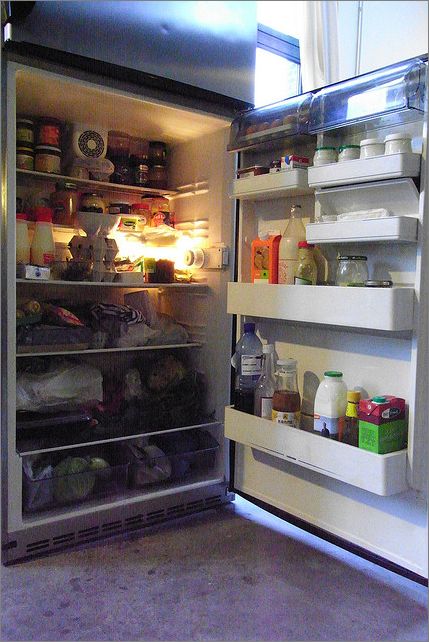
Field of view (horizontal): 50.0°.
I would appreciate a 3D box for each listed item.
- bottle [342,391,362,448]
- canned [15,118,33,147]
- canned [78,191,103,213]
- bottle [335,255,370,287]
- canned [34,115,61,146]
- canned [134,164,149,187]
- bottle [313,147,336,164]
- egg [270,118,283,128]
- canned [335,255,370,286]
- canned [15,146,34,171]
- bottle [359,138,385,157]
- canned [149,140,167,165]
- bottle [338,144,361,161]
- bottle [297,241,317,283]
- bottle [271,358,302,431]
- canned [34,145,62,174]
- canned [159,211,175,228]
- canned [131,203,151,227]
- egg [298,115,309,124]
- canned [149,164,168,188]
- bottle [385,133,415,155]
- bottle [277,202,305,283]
[{"bbox_3d":[0.316,0.220,1.058,0.033,0.141,0.038,7,20,26],"label":"bottle"},{"bbox_3d":[-0.569,-0.564,1.397,0.056,0.096,0.061,12,12,35],"label":"canned"},{"bbox_3d":[-0.428,-0.408,1.598,0.058,0.092,0.077,1,5,-1],"label":"canned"},{"bbox_3d":[0.327,-0.104,1.063,0.051,0.084,0.066,1,2,17],"label":"bottle"},{"bbox_3d":[-0.518,-0.589,1.437,0.064,0.114,0.074,5,5,30],"label":"canned"},{"bbox_3d":[-0.276,-0.548,1.730,0.040,0.087,0.066,5,10,12],"label":"canned"},{"bbox_3d":[0.270,-0.402,1.119,0.032,0.049,0.044,0,11,4],"label":"bottle"},{"bbox_3d":[0.169,-0.543,1.259,0.022,0.029,0.037,22,15,39],"label":"egg"},{"bbox_3d":[0.320,-0.117,1.067,0.050,0.083,0.065,1,2,17],"label":"canned"},{"bbox_3d":[-0.574,-0.489,1.388,0.043,0.077,0.054,1,1,-17],"label":"canned"},{"bbox_3d":[0.342,-0.375,0.997,0.040,0.046,0.048,6,14,29],"label":"bottle"},{"bbox_3d":[-0.219,-0.639,1.780,0.060,0.103,0.067,-1,5,-18],"label":"canned"},{"bbox_3d":[0.314,-0.390,1.064,0.038,0.050,0.042,8,15,34],"label":"bottle"},{"bbox_3d":[0.241,-0.149,1.208,0.048,0.110,0.070,-1,-3,35],"label":"bottle"},{"bbox_3d":[0.196,0.201,1.244,0.055,0.248,0.080,1,29,8],"label":"bottle"},{"bbox_3d":[-0.521,-0.503,1.430,0.056,0.089,0.074,2,3,9],"label":"canned"},{"bbox_3d":[-0.178,-0.390,1.766,0.037,0.101,0.045,-2,6,-21],"label":"canned"},{"bbox_3d":[-0.289,-0.410,1.797,0.055,0.105,0.073,2,4,7],"label":"canned"},{"bbox_3d":[0.225,-0.506,1.156,0.007,0.018,0.022,8,-7,-33],"label":"egg"},{"bbox_3d":[-0.220,-0.557,1.772,0.054,0.088,0.070,-1,7,-14],"label":"canned"},{"bbox_3d":[0.373,-0.357,0.927,0.047,0.063,0.057,6,17,26],"label":"bottle"},{"bbox_3d":[0.220,-0.201,1.261,0.053,0.241,0.064,1,5,-22],"label":"bottle"}]
